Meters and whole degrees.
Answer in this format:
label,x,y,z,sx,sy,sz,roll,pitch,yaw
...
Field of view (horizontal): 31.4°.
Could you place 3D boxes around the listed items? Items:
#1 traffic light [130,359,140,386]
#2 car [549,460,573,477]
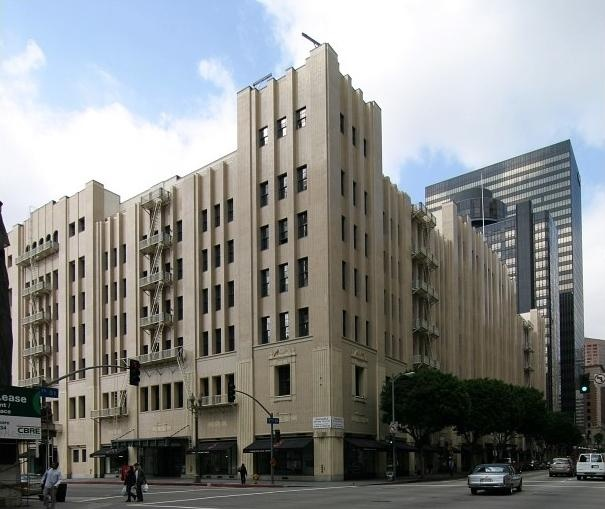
label,x,y,z,sx,sy,sz,roll,pitch,yaw
traffic light,-15.174,10.579,96.943,0.724,2.375,0.844,-2,-16,-1
car,29.483,24.395,122.881,1.374,1.439,3.329,-3,-1,17
